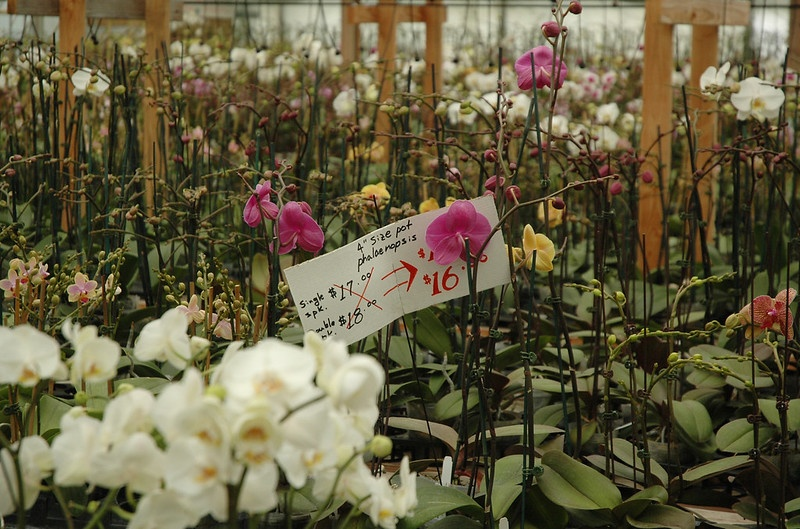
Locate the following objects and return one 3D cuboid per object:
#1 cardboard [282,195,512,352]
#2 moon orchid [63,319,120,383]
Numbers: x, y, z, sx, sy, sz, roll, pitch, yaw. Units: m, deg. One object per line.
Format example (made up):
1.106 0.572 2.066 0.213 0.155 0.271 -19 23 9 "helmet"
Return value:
-0.012 0.028 5.297 0.791 0.555 0.184 -24 16 -13 "cardboard"
-1.059 0.317 4.721 0.106 0.253 0.182 -2 11 46 "moon orchid"
